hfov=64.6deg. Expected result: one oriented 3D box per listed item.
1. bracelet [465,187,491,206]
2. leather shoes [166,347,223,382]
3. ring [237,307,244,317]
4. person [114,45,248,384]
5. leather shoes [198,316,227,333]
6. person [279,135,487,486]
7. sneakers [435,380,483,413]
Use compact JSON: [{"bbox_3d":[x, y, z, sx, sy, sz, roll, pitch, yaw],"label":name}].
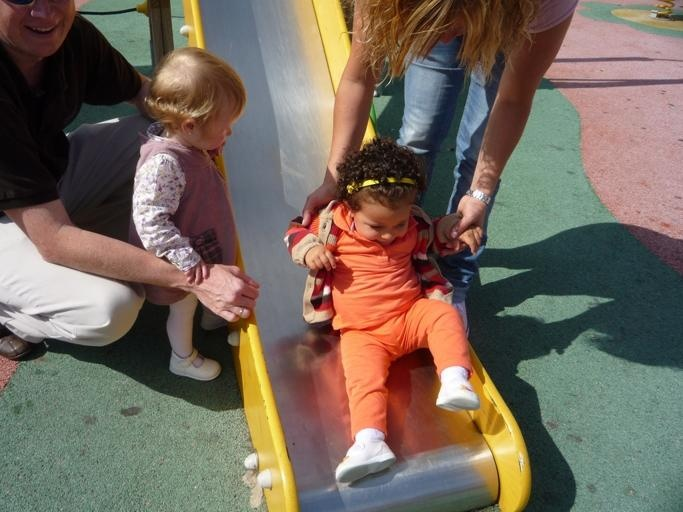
[{"bbox_3d":[0.554,-0.217,2.189,0.071,0.022,0.072,29,6,-5],"label":"bracelet"},{"bbox_3d":[-0.654,0.491,2.393,0.210,0.097,0.118,8,49,-7],"label":"leather shoes"},{"bbox_3d":[-0.378,0.215,2.036,0.026,0.011,0.027,1,84,-5],"label":"ring"},{"bbox_3d":[-0.672,-0.104,2.218,0.492,1.393,0.761,-7,44,-20],"label":"person"},{"bbox_3d":[-0.597,0.315,2.523,0.108,0.113,0.069,3,84,-17],"label":"leather shoes"},{"bbox_3d":[0.193,0.113,2.056,0.700,0.861,1.170,-4,29,-8],"label":"person"},{"bbox_3d":[0.419,0.507,1.935,0.141,0.090,0.141,-7,27,17],"label":"sneakers"}]
